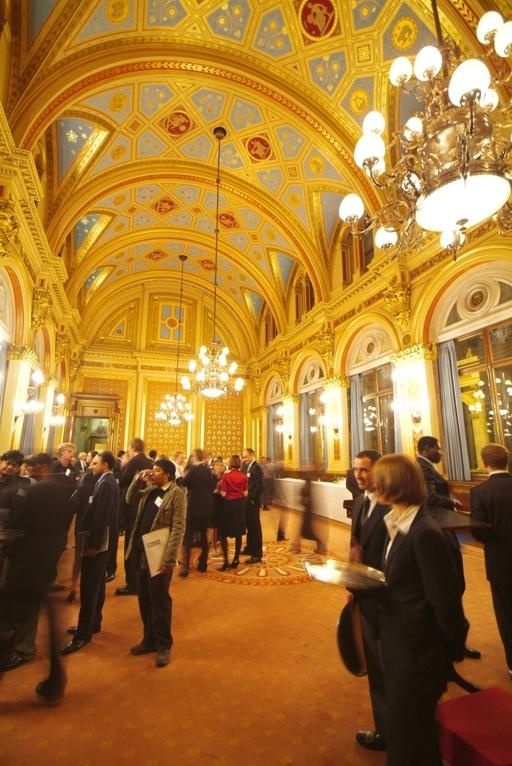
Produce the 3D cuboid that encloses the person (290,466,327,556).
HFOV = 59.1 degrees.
[{"bbox_3d":[0.879,2.081,7.527,0.606,1.326,0.651,8,-4,6],"label":"person"}]

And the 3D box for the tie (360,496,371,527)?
[{"bbox_3d":[0.558,0.656,2.269,0.025,0.115,0.078,9,0,17],"label":"tie"}]
